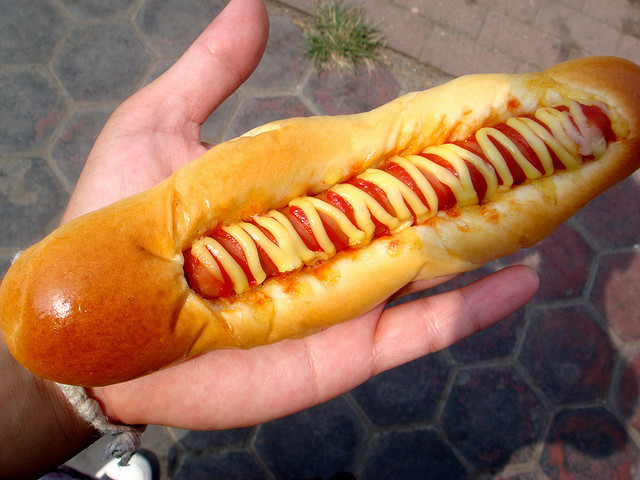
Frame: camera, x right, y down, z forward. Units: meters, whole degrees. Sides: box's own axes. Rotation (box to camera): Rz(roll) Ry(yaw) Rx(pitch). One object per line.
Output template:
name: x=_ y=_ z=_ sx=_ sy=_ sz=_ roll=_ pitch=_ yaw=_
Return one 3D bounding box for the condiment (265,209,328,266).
condiment: x=-0.179 y=-0.012 z=4.402 sx=0.540 sy=0.144 sz=0.158 roll=40 pitch=80 yaw=4

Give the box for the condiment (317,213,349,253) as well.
condiment: x=0.103 y=-0.022 z=4.484 sx=0.334 sy=0.102 sz=0.085 roll=56 pitch=34 yaw=-22
